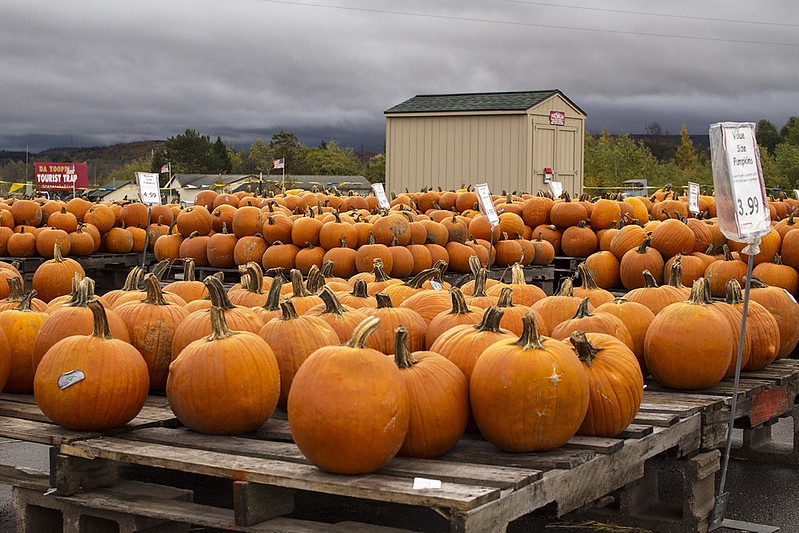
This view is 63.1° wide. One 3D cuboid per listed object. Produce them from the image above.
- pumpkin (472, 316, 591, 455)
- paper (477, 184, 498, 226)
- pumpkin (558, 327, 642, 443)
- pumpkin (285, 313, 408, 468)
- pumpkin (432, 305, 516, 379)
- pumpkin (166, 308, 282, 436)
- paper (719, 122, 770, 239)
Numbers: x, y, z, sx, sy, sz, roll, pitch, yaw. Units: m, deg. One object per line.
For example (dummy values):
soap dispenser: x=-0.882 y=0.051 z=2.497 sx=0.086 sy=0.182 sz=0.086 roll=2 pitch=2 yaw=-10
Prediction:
pumpkin: x=0.771 y=0.589 z=3.824 sx=0.618 sy=0.820 sz=0.712 roll=-1 pitch=1 yaw=28
paper: x=1.108 y=-0.848 z=9.062 sx=0.400 sy=0.595 sz=0.130 roll=-4 pitch=-14 yaw=-47
pumpkin: x=1.241 y=0.681 z=4.139 sx=0.540 sy=0.702 sz=0.572 roll=-5 pitch=0 yaw=-19
pumpkin: x=-0.330 y=0.680 z=3.532 sx=0.582 sy=0.804 sz=0.582 roll=5 pitch=-1 yaw=-25
pumpkin: x=0.465 y=0.393 z=4.005 sx=0.399 sy=0.442 sz=0.424 roll=5 pitch=4 yaw=22
pumpkin: x=-1.036 y=0.672 z=4.084 sx=0.692 sy=0.811 sz=0.683 roll=-1 pitch=4 yaw=-15
paper: x=2.326 y=-0.563 z=4.435 sx=0.318 sy=0.827 sz=0.623 roll=4 pitch=7 yaw=39
